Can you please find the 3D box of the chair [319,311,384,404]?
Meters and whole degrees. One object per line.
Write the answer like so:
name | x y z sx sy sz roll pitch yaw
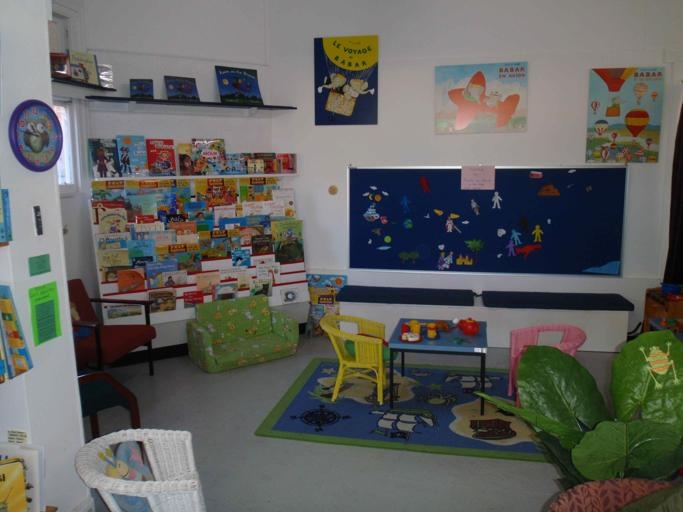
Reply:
chair | 0.238 1.028 5.632 0.783 0.975 0.865 0 6 12

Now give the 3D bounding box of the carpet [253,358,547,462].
carpet | 0.569 1.507 5.309 2.538 0.085 1.615 1 13 11

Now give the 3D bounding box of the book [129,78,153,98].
book | -2.437 -2.040 6.251 0.328 0.287 0.108 1 5 -6

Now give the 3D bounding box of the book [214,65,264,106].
book | -1.356 -2.265 6.789 0.550 0.449 0.211 -9 15 -30
